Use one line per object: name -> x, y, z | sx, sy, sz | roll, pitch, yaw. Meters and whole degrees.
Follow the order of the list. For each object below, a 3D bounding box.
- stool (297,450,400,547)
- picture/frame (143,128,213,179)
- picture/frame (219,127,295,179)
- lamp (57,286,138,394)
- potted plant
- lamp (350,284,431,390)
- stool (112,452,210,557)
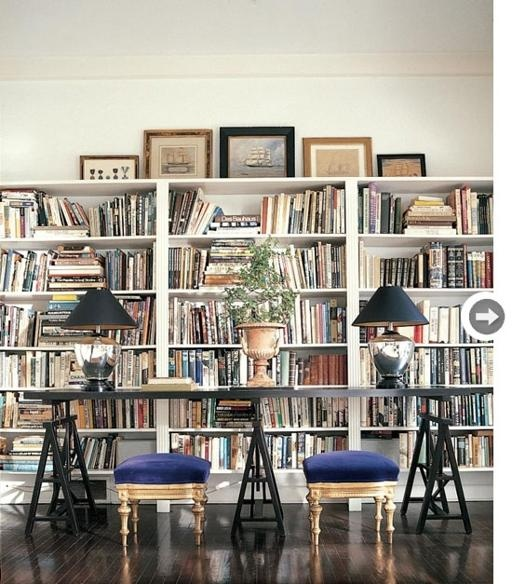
stool -> 0.464, 1.028, 3.717 | 0.451, 0.434, 0.403 | 0, 2, 3
picture/frame -> -0.506, -0.899, 4.846 | 0.381, 0.251, 0.035 | -1, -8, 2
picture/frame -> 0.013, -0.897, 4.836 | 0.416, 0.286, 0.033 | 0, -8, 2
lamp -> -0.890, 0.253, 4.149 | 0.407, 0.542, 0.520 | 0, 2, 14
potted plant -> 0.022, 0.101, 4.262 | 0.415, 0.819, 0.561 | 0, 2, 0
lamp -> 0.658, 0.251, 4.261 | 0.520, 0.649, 0.511 | 3, -7, -23
stool -> -0.467, 1.035, 3.740 | 0.456, 0.430, 0.432 | -1, 2, -3
